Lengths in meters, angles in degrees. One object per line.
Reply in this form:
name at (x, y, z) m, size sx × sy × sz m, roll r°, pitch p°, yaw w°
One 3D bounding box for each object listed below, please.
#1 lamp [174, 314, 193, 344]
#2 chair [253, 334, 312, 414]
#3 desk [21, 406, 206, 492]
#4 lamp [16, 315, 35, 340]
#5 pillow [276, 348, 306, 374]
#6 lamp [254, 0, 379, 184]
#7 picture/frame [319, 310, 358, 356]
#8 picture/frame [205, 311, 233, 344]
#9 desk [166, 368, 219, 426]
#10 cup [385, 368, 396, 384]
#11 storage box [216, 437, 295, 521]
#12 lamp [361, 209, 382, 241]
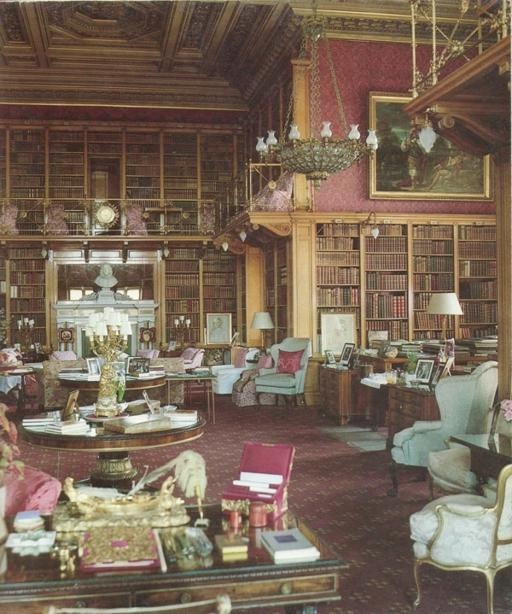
lamp at (-1.520, 0.484, 12.941) m, size 0.395 × 0.605 × 0.282 m, roll -1°, pitch -1°, yaw -7°
chair at (0.395, 0.907, 8.760) m, size 0.666 × 0.828 × 0.728 m, roll 3°, pitch 7°, yaw 42°
desk at (-0.887, 0.876, 3.798) m, size 1.226 × 0.370 × 1.121 m, roll 0°, pitch -1°, yaw -2°
lamp at (-4.526, 0.416, 12.251) m, size 0.328 × 0.441 × 0.500 m, roll 0°, pitch -1°, yaw -19°
pillow at (0.490, 0.771, 8.665) m, size 0.378 × 0.320 × 0.119 m, roll 2°, pitch -14°, yaw 44°
lamp at (0.616, -1.908, 6.336) m, size 1.092 × 1.388 × 1.077 m, roll 5°, pitch -8°, yaw -39°
picture/frame at (1.168, 0.390, 8.971) m, size 0.794 × 0.722 × 0.080 m, roll 0°, pitch -1°, yaw -10°
picture/frame at (-0.780, 0.465, 12.958) m, size 0.752 × 0.763 × 0.057 m, roll 1°, pitch -15°, yaw -10°
desk at (-0.930, 1.459, 9.140) m, size 0.724 × 0.553 × 1.231 m, roll 1°, pitch -1°, yaw -5°
cup at (1.408, 0.739, 6.521) m, size 0.110 × 0.105 × 0.107 m, roll 1°, pitch -3°, yaw 0°
storage box at (0.014, 0.736, 2.615) m, size 0.256 × 0.240 × 0.262 m, roll 4°, pitch 6°, yaw 26°
lamp at (1.679, -1.205, 9.110) m, size 0.279 × 0.385 × 0.547 m, roll -1°, pitch -1°, yaw 11°
